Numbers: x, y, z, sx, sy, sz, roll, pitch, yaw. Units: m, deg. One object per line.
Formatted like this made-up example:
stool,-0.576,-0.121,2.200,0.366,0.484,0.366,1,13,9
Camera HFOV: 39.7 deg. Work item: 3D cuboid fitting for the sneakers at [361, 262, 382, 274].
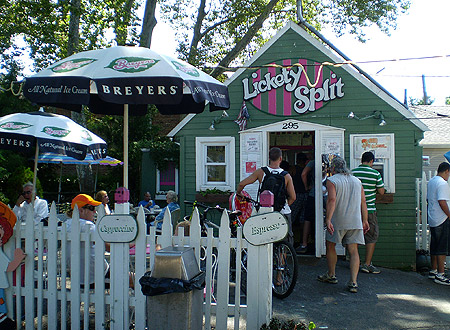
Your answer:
sneakers,3.242,2.325,14.087,0.541,0.273,0.195,5,-1,-14

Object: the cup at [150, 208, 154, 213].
cup,-1.914,1.198,16.354,0.091,0.121,0.123,0,1,4

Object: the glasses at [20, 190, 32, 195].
glasses,-4.501,0.629,14.077,0.204,0.082,0.222,-2,-15,6

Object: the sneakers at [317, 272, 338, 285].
sneakers,2.155,2.381,13.139,0.414,0.217,0.186,5,1,22

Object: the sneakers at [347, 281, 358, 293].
sneakers,2.593,2.469,12.623,0.200,0.216,0.130,0,-1,-4

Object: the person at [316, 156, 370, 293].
person,2.439,1.205,12.757,0.770,2.739,0.594,0,-1,8

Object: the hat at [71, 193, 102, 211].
hat,-2.565,0.662,11.422,0.477,0.278,0.308,-5,3,-14

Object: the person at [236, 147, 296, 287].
person,0.916,0.914,13.016,1.139,2.630,0.824,0,17,7

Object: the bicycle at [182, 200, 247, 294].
bicycle,-0.244,1.501,12.878,1.145,1.270,1.984,1,-2,-24

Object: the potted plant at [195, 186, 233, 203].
potted plant,-0.289,0.739,15.371,0.703,0.400,0.223,1,0,7

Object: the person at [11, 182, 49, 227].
person,-4.459,1.010,14.068,0.785,1.192,0.650,1,-7,-27

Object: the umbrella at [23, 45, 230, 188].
umbrella,-2.011,-0.849,12.299,3.832,2.756,3.600,1,-3,-7
